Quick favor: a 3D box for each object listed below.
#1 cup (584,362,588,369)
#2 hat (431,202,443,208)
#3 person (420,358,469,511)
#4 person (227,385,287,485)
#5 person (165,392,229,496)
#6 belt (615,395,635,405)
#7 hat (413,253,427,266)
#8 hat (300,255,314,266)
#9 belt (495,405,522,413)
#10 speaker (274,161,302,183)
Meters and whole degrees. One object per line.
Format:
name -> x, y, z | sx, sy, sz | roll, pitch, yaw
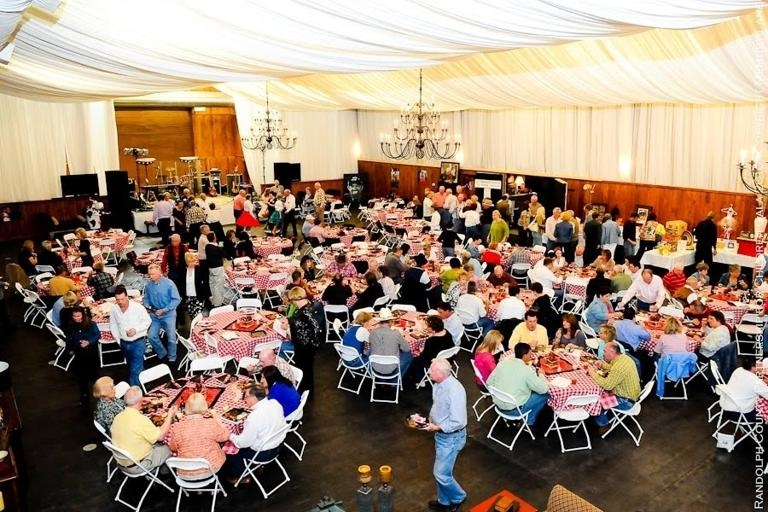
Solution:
cup -> 3.311, 1.789, 8.299 | 0.068, 0.071, 0.075 | 13, -24, -21
hat -> 1.889, -1.871, 18.217 | 0.388, 0.140, 0.338 | -14, 26, -30
person -> 0.829, 2.359, 6.662 | 0.487, 2.173, 0.291 | -2, 11, 4
person -> -1.861, 2.581, 7.238 | 0.882, 1.488, 0.726 | 2, 13, -7
person -> -2.541, 2.565, 6.815 | 0.893, 1.748, 1.082 | 6, 46, -12
belt -> 3.800, 2.263, 7.997 | 0.143, 0.169, 0.181 | 0, 14, -30
hat -> 0.825, 0.096, 12.118 | 0.267, 0.269, 0.304 | 13, 30, 25
hat -> -1.836, 0.057, 11.997 | 0.341, 0.271, 0.360 | -3, -7, -17
belt -> 1.943, 2.354, 7.829 | 0.219, 0.088, 0.193 | -4, -1, 28
speaker -> -4.693, -4.057, 24.607 | 0.730, 1.110, 1.507 | 3, 12, 24
